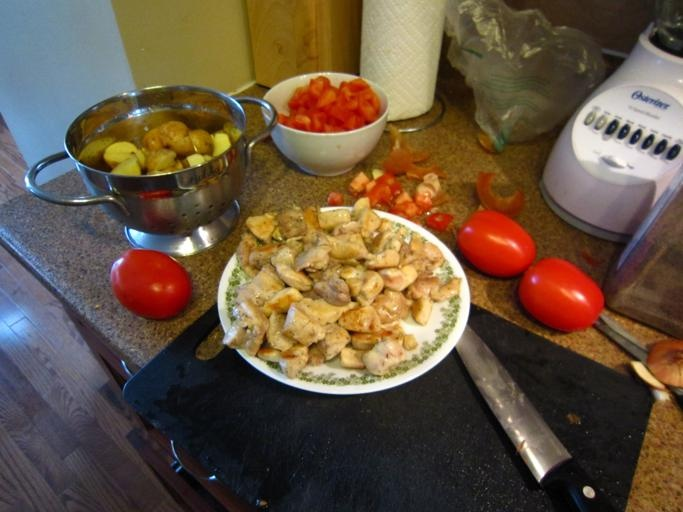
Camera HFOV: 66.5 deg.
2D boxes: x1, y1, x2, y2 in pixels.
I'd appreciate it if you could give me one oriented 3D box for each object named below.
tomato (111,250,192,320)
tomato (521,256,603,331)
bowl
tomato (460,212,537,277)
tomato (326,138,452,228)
[{"bbox_3d":[-0.402,0.084,1.154,0.163,0.096,0.127,39,70,-1],"label":"tomato"},{"bbox_3d":[0.464,0.088,1.172,0.162,0.130,0.132,38,73,12],"label":"tomato"},{"bbox_3d":[-0.039,-0.287,1.402,0.260,0.141,0.293,3,48,2],"label":"bowl"},{"bbox_3d":[0.353,-0.019,1.231,0.163,0.097,0.125,39,76,16],"label":"tomato"},{"bbox_3d":[0.158,-0.177,1.366,0.225,0.083,0.253,-1,49,-5],"label":"tomato"}]
